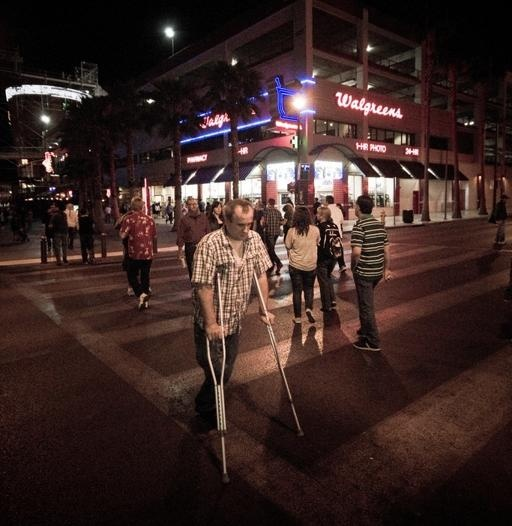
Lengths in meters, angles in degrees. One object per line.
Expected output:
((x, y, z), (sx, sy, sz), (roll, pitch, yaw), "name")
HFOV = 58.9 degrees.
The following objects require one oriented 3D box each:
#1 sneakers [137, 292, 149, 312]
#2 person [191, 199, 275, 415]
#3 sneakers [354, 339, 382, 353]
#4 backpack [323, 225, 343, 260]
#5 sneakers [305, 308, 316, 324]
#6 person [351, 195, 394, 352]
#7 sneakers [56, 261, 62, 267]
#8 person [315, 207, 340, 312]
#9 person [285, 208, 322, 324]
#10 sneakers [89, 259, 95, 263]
((-2.077, 0.767, 8.259), (0.132, 0.183, 0.430), (1, -25, -13), "sneakers")
((-0.209, 0.461, 3.838), (0.629, 2.093, 0.569), (-10, 25, -34), "person")
((1.430, 1.074, 5.900), (0.125, 0.151, 0.329), (-7, 11, -37), "sneakers")
((1.289, -0.361, 7.775), (0.314, 0.606, 0.386), (-7, -1, 31), "backpack")
((0.869, 0.855, 7.289), (0.090, 0.262, 0.105), (-24, -3, 9), "sneakers")
((1.443, 0.139, 5.816), (0.543, 1.979, 0.442), (-1, 7, 2), "person")
((-6.167, 0.016, 14.108), (0.170, 0.198, 0.135), (-1, 8, -11), "sneakers")
((1.207, -0.067, 7.944), (0.540, 1.849, 0.532), (5, 12, 33), "person")
((0.711, 0.039, 7.157), (0.561, 1.840, 0.408), (-2, 7, -13), "person")
((-5.191, -0.058, 14.270), (0.098, 0.084, 0.139), (7, -21, 43), "sneakers")
